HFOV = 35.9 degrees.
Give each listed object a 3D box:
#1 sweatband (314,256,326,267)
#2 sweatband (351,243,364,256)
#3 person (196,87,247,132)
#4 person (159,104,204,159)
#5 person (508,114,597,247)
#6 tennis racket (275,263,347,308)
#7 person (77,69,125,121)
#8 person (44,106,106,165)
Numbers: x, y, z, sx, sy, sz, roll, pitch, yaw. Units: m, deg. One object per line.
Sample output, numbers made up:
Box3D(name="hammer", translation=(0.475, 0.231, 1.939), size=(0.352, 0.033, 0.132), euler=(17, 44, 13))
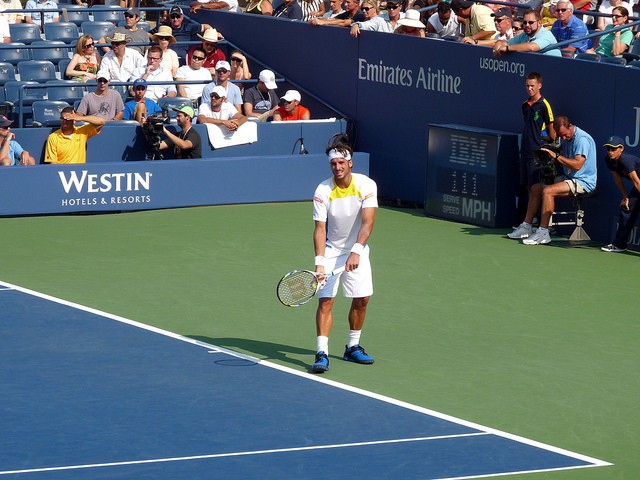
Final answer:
Box3D(name="sweatband", translation=(0.007, 0.231, 10.840), size=(0.089, 0.103, 0.109), euler=(2, 3, -21))
Box3D(name="sweatband", translation=(0.412, 0.095, 10.843), size=(0.130, 0.110, 0.114), euler=(1, 1, -4))
Box3D(name="person", translation=(-1.946, -2.565, 19.542), size=(0.956, 0.842, 0.722), euler=(2, 6, -13))
Box3D(name="person", translation=(-2.634, -2.066, 18.988), size=(0.841, 1.036, 1.042), euler=(3, 6, -7))
Box3D(name="person", translation=(3.895, -0.962, 16.247), size=(1.111, 2.177, 1.027), euler=(-2, 8, -44))
Box3D(name="tennis racket", translation=(0.069, 0.442, 10.810), size=(1.391, 0.362, 0.104), euler=(-15, 10, -40))
Box3D(name="person", translation=(-4.192, -2.689, 18.851), size=(0.964, 1.028, 0.703), euler=(-1, 11, -16))
Box3D(name="person", translation=(-4.525, -1.896, 18.221), size=(1.027, 1.027, 0.843), euler=(2, 6, -17))
